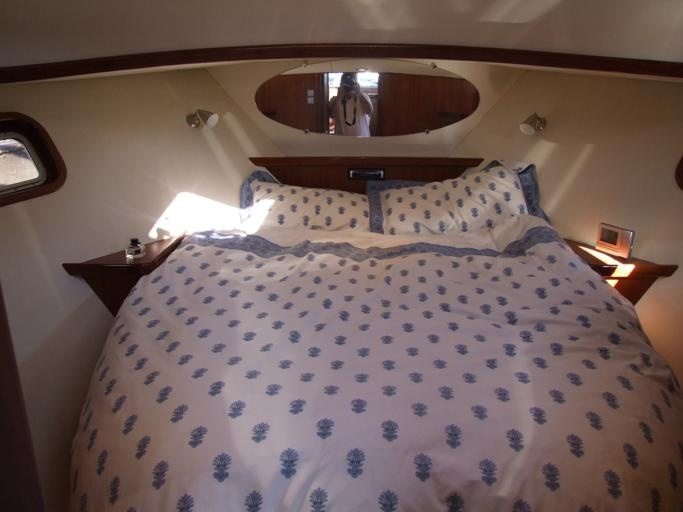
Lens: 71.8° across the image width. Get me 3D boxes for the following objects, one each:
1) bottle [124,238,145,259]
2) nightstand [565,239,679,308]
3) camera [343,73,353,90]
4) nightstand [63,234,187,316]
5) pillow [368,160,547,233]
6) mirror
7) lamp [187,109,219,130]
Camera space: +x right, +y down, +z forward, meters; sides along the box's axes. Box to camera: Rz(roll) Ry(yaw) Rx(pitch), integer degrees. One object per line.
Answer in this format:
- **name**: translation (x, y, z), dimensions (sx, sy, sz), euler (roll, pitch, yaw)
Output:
- **bottle**: translation (-1.037, -0.040, 2.413), dimensions (0.099, 0.110, 0.102), euler (1, 10, 2)
- **nightstand**: translation (1.481, 0.022, 2.467), dimensions (0.443, 0.264, 0.303), euler (9, -28, 22)
- **camera**: translation (0.044, -1.216, 3.274), dimensions (0.056, 0.085, 0.083), euler (2, 4, 0)
- **nightstand**: translation (-1.119, 0.205, 2.484), dimensions (0.290, 0.377, 0.574), euler (4, 31, 7)
- **pillow**: translation (0.702, -0.322, 3.023), dimensions (0.772, 0.630, 0.172), euler (-7, -26, 16)
- **mirror**: translation (0.340, -1.098, 3.301), dimensions (1.136, 0.441, 0.011), euler (3, 18, 2)
- **lamp**: translation (-0.902, -0.892, 3.095), dimensions (0.178, 0.158, 0.089), euler (15, 4, 6)
